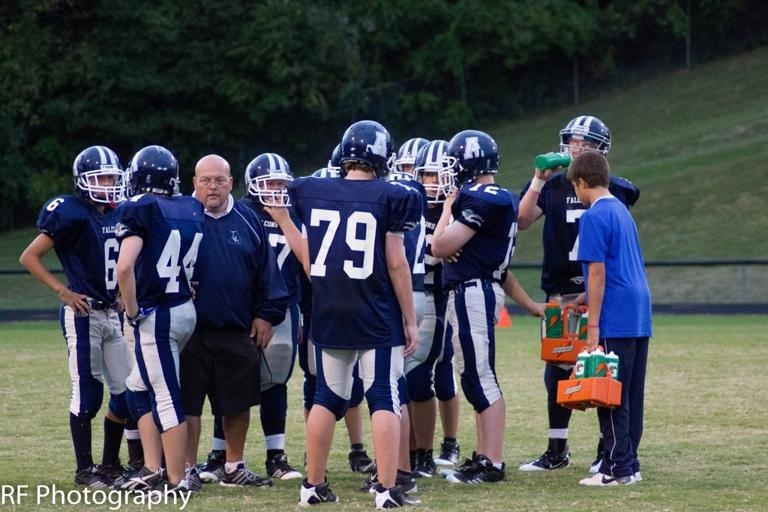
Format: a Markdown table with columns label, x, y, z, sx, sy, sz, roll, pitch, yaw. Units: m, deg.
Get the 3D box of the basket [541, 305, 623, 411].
| label | x | y | z | sx | sy | sz | roll | pitch | yaw |
| --- | --- | --- | --- | --- | --- | --- | --- | --- | --- |
| basket | 4.009 | 1.972 | 30.343 | 0.873 | 2.191 | 2.221 | 5 | -3 | -44 |
